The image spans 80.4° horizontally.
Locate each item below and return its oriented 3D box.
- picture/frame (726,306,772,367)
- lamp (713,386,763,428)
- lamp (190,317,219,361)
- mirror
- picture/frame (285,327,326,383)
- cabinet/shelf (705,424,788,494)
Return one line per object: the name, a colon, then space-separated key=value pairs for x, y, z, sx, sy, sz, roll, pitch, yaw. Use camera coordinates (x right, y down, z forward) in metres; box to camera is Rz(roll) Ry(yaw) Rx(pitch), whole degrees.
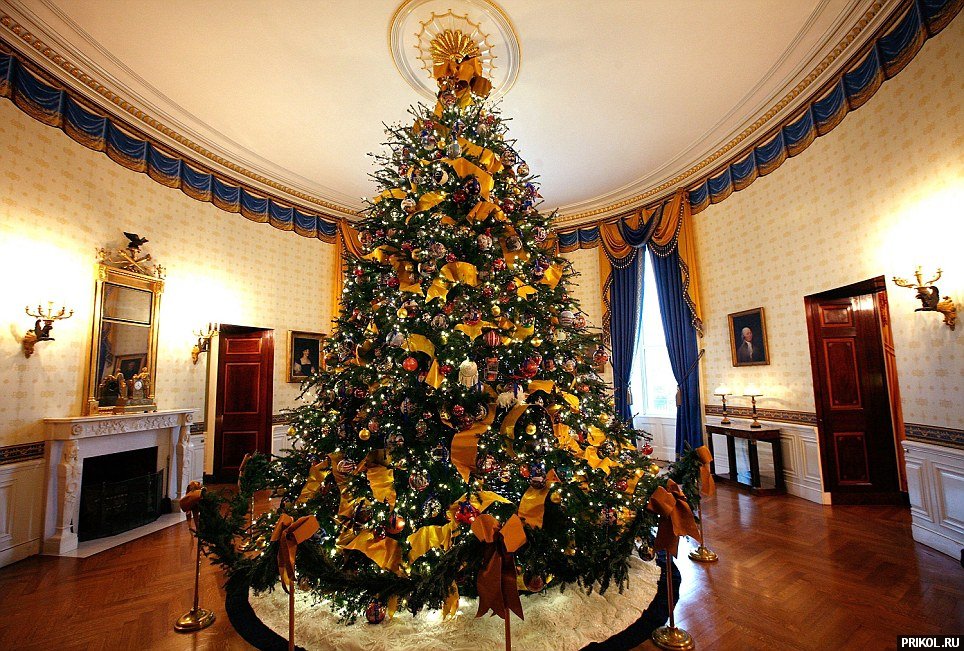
picture/frame: x=3.902 y=0.163 z=8.288 sx=0.077 sy=1.110 sz=0.795 roll=3 pitch=-6 yaw=-25
lamp: x=3.787 y=1.194 z=8.374 sx=0.564 sy=0.514 sz=0.227 roll=-9 pitch=-18 yaw=41
lamp: x=-4.023 y=0.243 z=8.260 sx=0.177 sy=0.615 sz=0.417 roll=-2 pitch=-7 yaw=13
mirror: x=-4.536 y=0.000 z=7.249 sx=0.184 sy=2.196 sz=0.822 roll=-4 pitch=-8 yaw=30
picture/frame: x=-2.844 y=0.475 z=8.982 sx=0.100 sy=0.925 sz=0.839 roll=-4 pitch=-8 yaw=29
cabinet/shelf: x=3.684 y=1.855 z=7.849 sx=0.474 sy=1.015 sz=1.151 roll=2 pitch=-7 yaw=-12
